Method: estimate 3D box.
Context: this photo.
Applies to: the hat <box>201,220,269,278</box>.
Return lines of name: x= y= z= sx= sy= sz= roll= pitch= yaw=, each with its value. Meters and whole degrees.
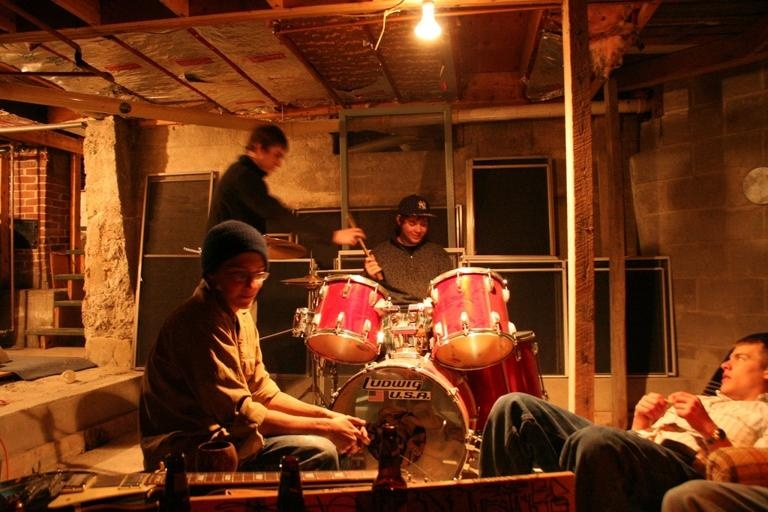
hat: x=-0.968 y=-0.043 z=4.330 sx=0.427 sy=0.273 sz=0.364 roll=0 pitch=-10 yaw=4

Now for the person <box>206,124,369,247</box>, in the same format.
person: x=-0.754 y=-0.646 z=6.060 sx=1.643 sy=1.021 sz=0.966 roll=2 pitch=13 yaw=5

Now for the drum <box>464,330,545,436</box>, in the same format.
drum: x=0.982 y=1.110 z=5.745 sx=0.887 sy=0.733 sz=0.801 roll=-12 pitch=-13 yaw=-1

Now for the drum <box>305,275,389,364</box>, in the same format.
drum: x=-0.305 y=0.508 z=5.664 sx=0.821 sy=0.619 sz=0.725 roll=10 pitch=-33 yaw=-10

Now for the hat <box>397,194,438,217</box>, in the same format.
hat: x=0.306 y=-0.485 z=6.424 sx=0.240 sy=0.162 sz=0.339 roll=11 pitch=-7 yaw=-39

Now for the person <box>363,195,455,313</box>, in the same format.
person: x=0.262 y=0.003 z=6.299 sx=1.203 sy=1.226 sz=0.824 roll=1 pitch=-20 yaw=-5

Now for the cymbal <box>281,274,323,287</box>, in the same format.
cymbal: x=-0.730 y=0.230 z=6.102 sx=0.266 sy=0.049 sz=0.241 roll=2 pitch=-13 yaw=-18

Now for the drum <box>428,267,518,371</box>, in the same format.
drum: x=0.531 y=0.534 z=5.451 sx=0.911 sy=0.687 sz=0.807 roll=8 pitch=-32 yaw=-14

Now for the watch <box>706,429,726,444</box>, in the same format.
watch: x=2.101 y=1.146 z=4.191 sx=0.108 sy=0.094 sz=0.033 roll=26 pitch=-8 yaw=10
